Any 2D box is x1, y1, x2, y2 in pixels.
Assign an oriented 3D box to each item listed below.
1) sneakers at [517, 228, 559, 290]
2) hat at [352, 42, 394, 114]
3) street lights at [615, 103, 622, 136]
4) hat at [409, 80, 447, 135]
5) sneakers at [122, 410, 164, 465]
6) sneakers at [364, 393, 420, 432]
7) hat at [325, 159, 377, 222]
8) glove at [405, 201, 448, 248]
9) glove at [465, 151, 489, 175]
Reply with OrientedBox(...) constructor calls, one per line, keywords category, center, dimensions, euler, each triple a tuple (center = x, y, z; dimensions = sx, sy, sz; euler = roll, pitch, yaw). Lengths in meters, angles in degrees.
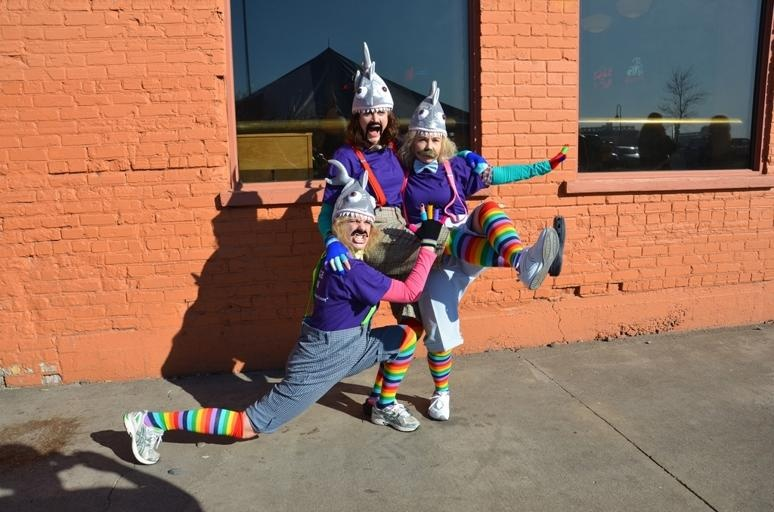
OrientedBox(category="sneakers", center=(1.092, 0.020, 4.166), dimensions=(0.305, 0.426, 0.161), euler=(-1, 13, 4))
OrientedBox(category="hat", center=(-0.116, -1.415, 4.592), dimensions=(0.323, 0.548, 0.280), euler=(5, 14, 26))
OrientedBox(category="street lights", center=(2.454, -1.453, 6.133), dimensions=(0.078, 0.306, 0.047), euler=(-6, 13, -18))
OrientedBox(category="hat", center=(0.344, -1.176, 4.555), dimensions=(0.324, 0.395, 0.283), euler=(5, 16, -9))
OrientedBox(category="sneakers", center=(-1.798, 1.357, 4.344), dimensions=(0.242, 0.421, 0.227), euler=(-8, 14, -26))
OrientedBox(category="sneakers", center=(0.074, 1.298, 4.725), dimensions=(0.451, 0.194, 0.171), euler=(6, 5, 31))
OrientedBox(category="hat", center=(-0.252, -0.495, 4.378), dimensions=(0.361, 0.450, 0.420), euler=(-3, 12, -5))
OrientedBox(category="glove", center=(0.311, -0.234, 4.315), dimensions=(0.292, 0.412, 0.084), euler=(-6, 45, -2))
OrientedBox(category="glove", center=(0.730, -0.769, 4.733), dimensions=(0.132, 0.224, 0.095), euler=(-41, -12, -13))
